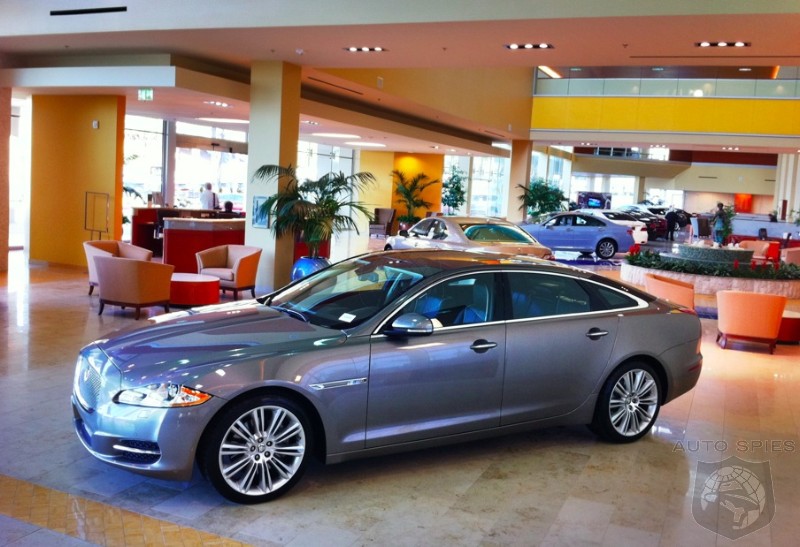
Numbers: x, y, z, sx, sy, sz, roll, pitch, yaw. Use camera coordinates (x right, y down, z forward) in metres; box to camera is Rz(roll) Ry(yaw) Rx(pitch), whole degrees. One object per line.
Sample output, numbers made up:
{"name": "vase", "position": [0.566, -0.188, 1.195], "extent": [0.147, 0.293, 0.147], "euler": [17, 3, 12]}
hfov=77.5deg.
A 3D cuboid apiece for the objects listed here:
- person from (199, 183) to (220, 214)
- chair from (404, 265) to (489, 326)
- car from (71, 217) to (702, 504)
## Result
{"name": "person", "position": [-6.844, -2.806, 18.069], "extent": [0.591, 0.917, 1.351], "euler": [0, 9, -20]}
{"name": "chair", "position": [0.420, 0.208, 4.181], "extent": [0.704, 0.298, 0.367], "euler": [-4, 11, -30]}
{"name": "car", "position": [0.217, 0.586, 4.481], "extent": [5.201, 1.339, 2.080], "euler": [1, 3, -27]}
